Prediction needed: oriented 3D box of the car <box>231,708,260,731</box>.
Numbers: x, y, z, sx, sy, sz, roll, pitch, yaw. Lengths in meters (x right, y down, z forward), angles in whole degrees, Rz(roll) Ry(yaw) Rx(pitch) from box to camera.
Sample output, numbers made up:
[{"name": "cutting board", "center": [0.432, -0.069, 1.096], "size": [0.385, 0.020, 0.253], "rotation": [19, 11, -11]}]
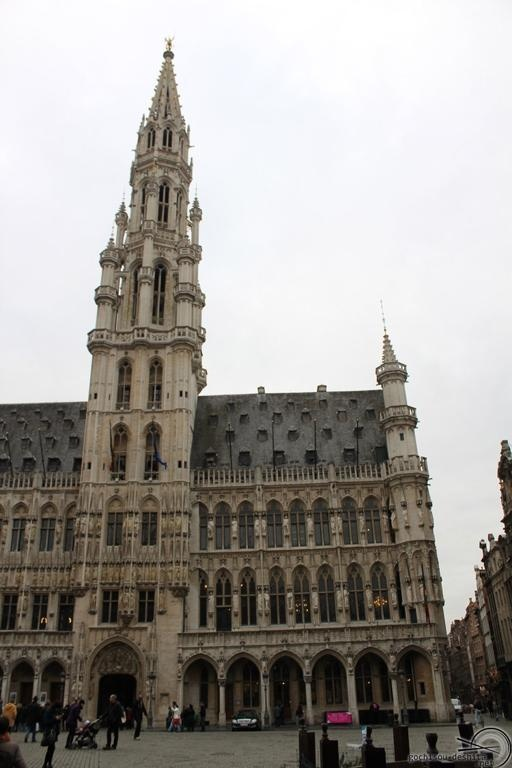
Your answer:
[{"name": "car", "center": [-0.586, 19.245, 33.904], "size": [1.517, 0.928, 1.332], "rotation": [1, -27, -2]}]
